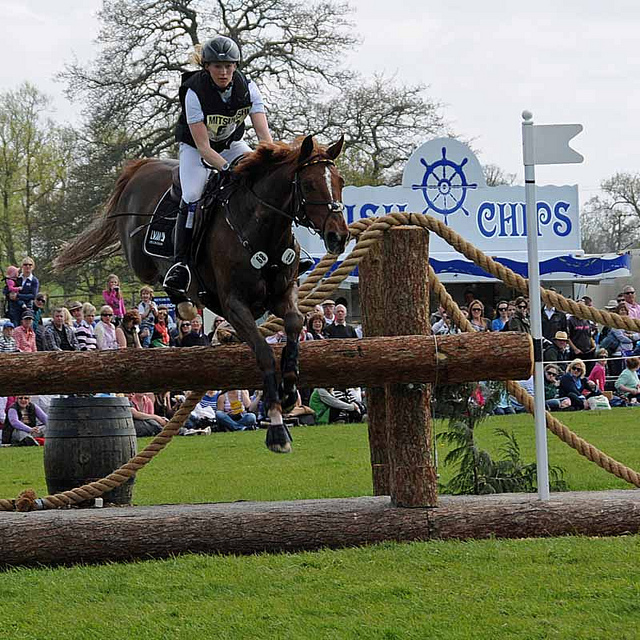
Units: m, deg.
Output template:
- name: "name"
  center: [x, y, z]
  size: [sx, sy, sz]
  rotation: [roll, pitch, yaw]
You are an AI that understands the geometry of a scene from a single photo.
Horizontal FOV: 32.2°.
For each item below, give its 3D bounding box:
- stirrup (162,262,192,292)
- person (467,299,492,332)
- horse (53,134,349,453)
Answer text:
- name: "stirrup"
  center: [-0.953, -0.277, 7.588]
  size: [0.178, 0.210, 0.063]
  rotation: [11, -13, 10]
- name: "person"
  center: [2.126, -0.062, 15.130]
  size: [0.247, 0.426, 0.847]
  rotation: [-3, 0, 7]
- name: "horse"
  center: [-0.919, -0.535, 8.429]
  size: [0.933, 2.032, 3.811]
  rotation: [-6, 16, -31]
